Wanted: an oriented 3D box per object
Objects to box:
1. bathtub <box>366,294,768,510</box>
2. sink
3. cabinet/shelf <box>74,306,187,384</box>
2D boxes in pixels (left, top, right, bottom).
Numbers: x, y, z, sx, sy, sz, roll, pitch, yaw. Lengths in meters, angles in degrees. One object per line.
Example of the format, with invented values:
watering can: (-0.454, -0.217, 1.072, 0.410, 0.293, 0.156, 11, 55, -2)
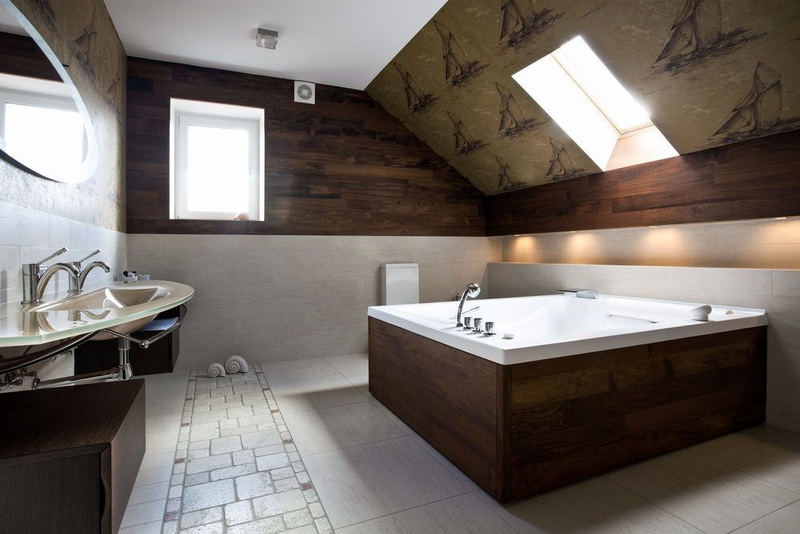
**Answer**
bathtub: (1.204, 0.727, 3.205, 2.540, 0.896, 1.217, -2, 14, -8)
sink: (-1.505, 0.241, 2.706, 0.595, 0.169, 0.839, -11, 16, -27)
cabinet/shelf: (-2.047, 0.621, 3.659, 0.663, 0.371, 0.656, -1, -1, 3)
